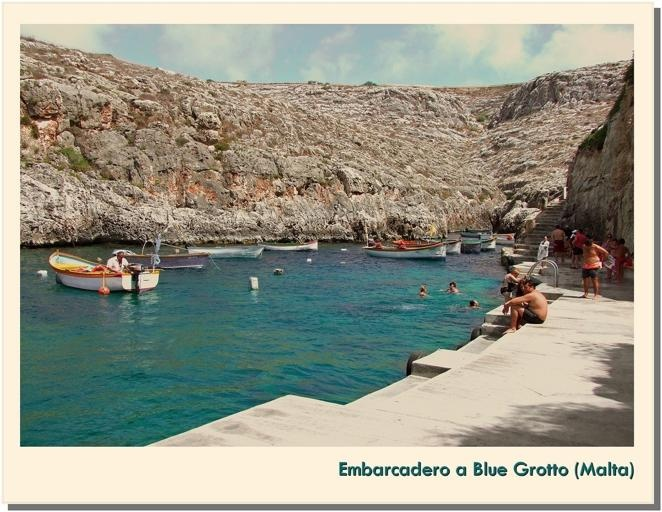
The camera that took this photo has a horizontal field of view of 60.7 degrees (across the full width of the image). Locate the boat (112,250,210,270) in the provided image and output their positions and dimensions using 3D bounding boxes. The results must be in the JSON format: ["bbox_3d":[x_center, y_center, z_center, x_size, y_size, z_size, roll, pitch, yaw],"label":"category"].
[{"bbox_3d":[-10.416,0.286,35.261,6.500,0.816,1.325,2,13,-22],"label":"boat"}]

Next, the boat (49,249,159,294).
[{"bbox_3d":[-12.353,0.712,29.710,6.842,1.784,3.854,7,10,43],"label":"boat"}]

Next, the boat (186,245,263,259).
[{"bbox_3d":[-8.216,-0.279,44.054,5.928,0.747,1.123,-3,8,-25],"label":"boat"}]

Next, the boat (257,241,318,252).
[{"bbox_3d":[-3.807,-0.996,50.367,5.814,0.708,1.417,-1,-1,-12],"label":"boat"}]

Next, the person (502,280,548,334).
[{"bbox_3d":[4.897,1.204,14.570,1.230,1.240,0.741,-3,10,-23],"label":"person"}]
